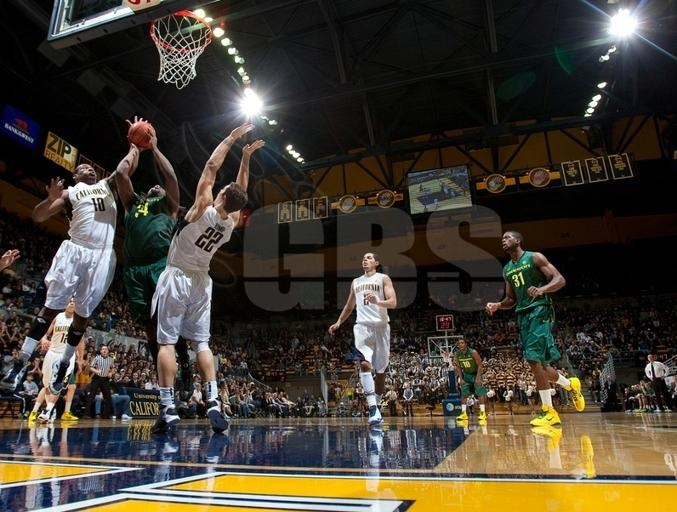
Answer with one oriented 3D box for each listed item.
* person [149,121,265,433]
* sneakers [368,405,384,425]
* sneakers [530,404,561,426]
[{"bbox_3d":[-1.287,0.154,4.192,0.928,2.746,0.958,-3,-23,6],"label":"person"},{"bbox_3d":[0.480,2.039,5.642,0.158,0.208,0.369,-1,-24,2],"label":"sneakers"},{"bbox_3d":[2.434,1.858,5.083,0.277,0.235,0.647,-12,-27,24],"label":"sneakers"}]
